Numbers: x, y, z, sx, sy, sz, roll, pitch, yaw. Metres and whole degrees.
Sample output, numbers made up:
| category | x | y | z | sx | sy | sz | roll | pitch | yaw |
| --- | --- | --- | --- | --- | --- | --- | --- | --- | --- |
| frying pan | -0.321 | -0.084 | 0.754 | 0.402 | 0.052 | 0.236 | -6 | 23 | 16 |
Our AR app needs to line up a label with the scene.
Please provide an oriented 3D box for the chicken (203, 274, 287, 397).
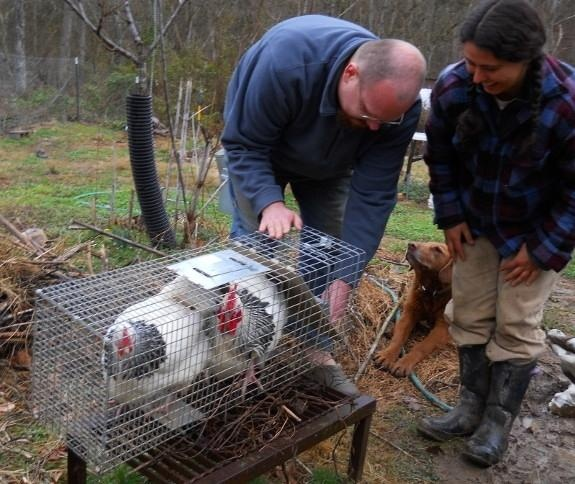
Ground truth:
| category | x | y | z | sx | sy | sz | roll | pitch | yaw |
| --- | --- | --- | --- | --- | --- | --- | --- | --- | --- |
| chicken | -0.191 | 0.375 | 2.009 | 0.556 | 0.359 | 0.329 | 4 | 30 | -26 |

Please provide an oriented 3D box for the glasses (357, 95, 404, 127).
| category | x | y | z | sx | sy | sz | roll | pitch | yaw |
| --- | --- | --- | --- | --- | --- | --- | --- | --- | --- |
| glasses | 0.439 | -0.635 | 2.284 | 0.199 | 0.150 | 0.142 | 6 | 23 | 12 |

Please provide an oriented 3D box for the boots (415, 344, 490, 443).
| category | x | y | z | sx | sy | sz | roll | pitch | yaw |
| --- | --- | --- | --- | --- | --- | --- | --- | --- | --- |
| boots | 1.008 | 0.857 | 2.819 | 0.474 | 0.560 | 0.185 | -4 | 8 | -6 |

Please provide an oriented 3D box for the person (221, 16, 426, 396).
| category | x | y | z | sx | sy | sz | roll | pitch | yaw |
| --- | --- | --- | --- | --- | --- | --- | --- | --- | --- |
| person | 0.134 | -0.615 | 2.688 | 1.277 | 2.102 | 1.087 | 4 | 11 | 12 |

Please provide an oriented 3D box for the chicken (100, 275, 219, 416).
| category | x | y | z | sx | sy | sz | roll | pitch | yaw |
| --- | --- | --- | --- | --- | --- | --- | --- | --- | --- |
| chicken | -0.517 | 0.389 | 1.811 | 0.262 | 0.355 | 0.490 | 23 | 30 | 36 |
